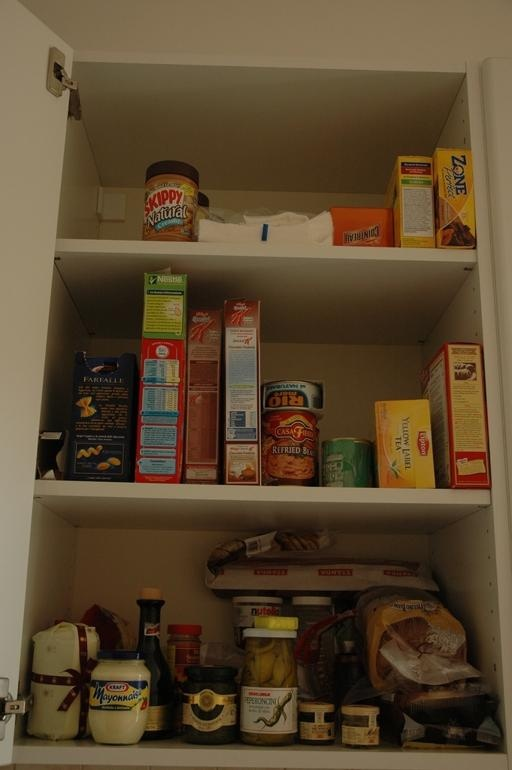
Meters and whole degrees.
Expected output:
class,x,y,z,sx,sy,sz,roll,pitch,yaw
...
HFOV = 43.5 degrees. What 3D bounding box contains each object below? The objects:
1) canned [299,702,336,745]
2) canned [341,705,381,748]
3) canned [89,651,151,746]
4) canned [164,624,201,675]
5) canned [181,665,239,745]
class,x,y,z,sx,sy,sz,roll,pitch,yaw
canned,0.080,0.436,0.833,0.050,0.049,0.051,0,-16,6
canned,0.133,0.432,0.816,0.051,0.054,0.053,2,-20,-1
canned,-0.173,0.392,0.804,0.073,0.112,0.037,3,-14,-13
canned,-0.109,0.391,0.952,0.058,0.089,0.059,5,-19,-14
canned,-0.057,0.405,0.828,0.089,0.098,0.088,0,-21,1
